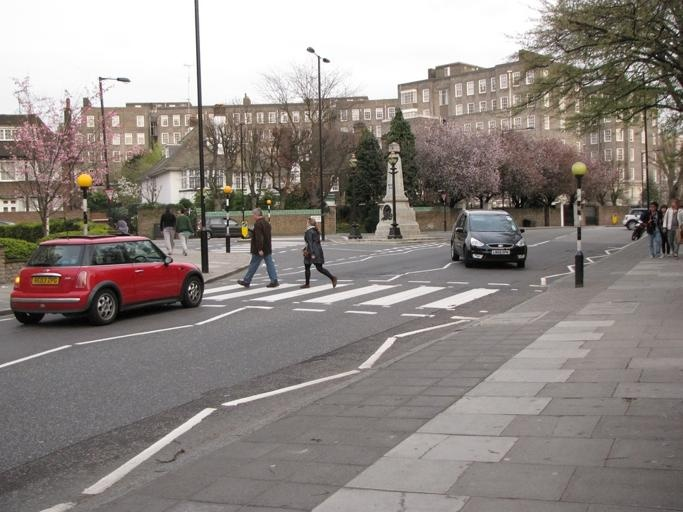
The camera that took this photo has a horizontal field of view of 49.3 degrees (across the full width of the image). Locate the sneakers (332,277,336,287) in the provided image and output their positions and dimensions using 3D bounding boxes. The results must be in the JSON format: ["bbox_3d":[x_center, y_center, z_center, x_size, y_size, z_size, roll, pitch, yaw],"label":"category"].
[{"bbox_3d":[-0.185,0.691,19.187,0.098,0.257,0.085,2,15,-2],"label":"sneakers"}]

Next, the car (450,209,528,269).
[{"bbox_3d":[4.858,-0.557,24.659,2.228,1.890,2.866,-2,5,10],"label":"car"}]

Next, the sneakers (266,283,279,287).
[{"bbox_3d":[-1.858,0.762,19.945,0.328,0.151,0.120,5,8,19],"label":"sneakers"}]
